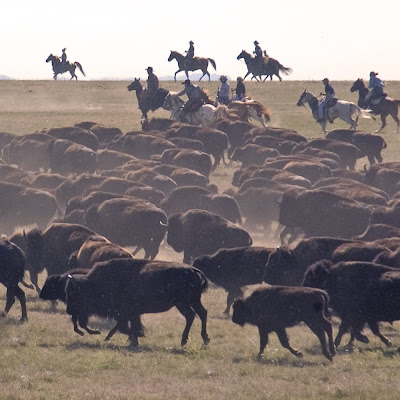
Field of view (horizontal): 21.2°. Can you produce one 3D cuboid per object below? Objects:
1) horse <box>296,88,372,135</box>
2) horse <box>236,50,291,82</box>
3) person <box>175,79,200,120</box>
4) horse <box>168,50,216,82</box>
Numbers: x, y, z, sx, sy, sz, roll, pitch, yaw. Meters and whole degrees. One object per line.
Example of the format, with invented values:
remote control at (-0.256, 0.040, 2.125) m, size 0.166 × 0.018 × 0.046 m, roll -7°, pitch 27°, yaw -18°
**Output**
horse at (4.520, -3.025, 36.399) m, size 2.629 × 1.689 × 0.563 m, roll 1°, pitch 24°, yaw 30°
horse at (2.993, -6.465, 50.916) m, size 2.596 × 1.257 × 1.147 m, roll -4°, pitch 8°, yaw -26°
person at (-0.289, -3.502, 37.979) m, size 1.149 × 1.845 × 0.732 m, roll 2°, pitch -3°, yaw 11°
horse at (-0.284, -6.051, 48.431) m, size 2.184 × 1.598 × 0.496 m, roll -3°, pitch 3°, yaw -13°
